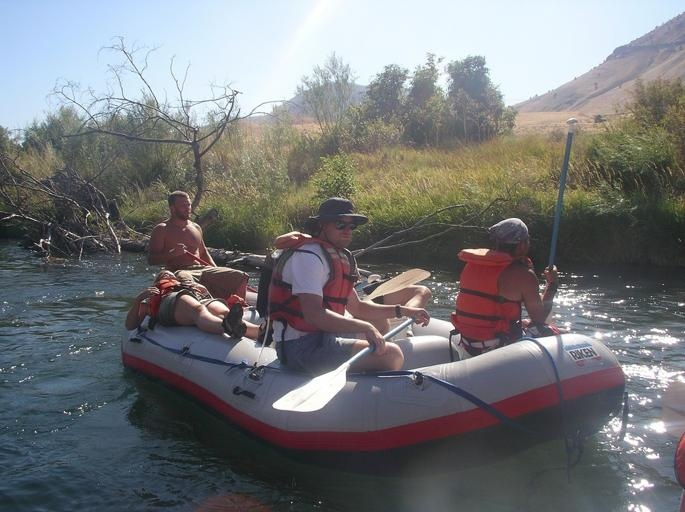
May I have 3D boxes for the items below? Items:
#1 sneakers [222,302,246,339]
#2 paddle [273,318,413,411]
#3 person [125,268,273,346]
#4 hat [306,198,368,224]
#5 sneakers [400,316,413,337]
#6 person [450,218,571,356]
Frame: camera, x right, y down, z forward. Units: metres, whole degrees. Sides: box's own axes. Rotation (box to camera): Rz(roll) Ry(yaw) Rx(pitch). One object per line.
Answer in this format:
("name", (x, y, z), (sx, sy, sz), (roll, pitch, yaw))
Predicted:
("sneakers", (-1.090, 0.631, 5.253), (0.154, 0.443, 0.293), (1, 1, -31))
("paddle", (0.036, 0.863, 4.373), (0.312, 0.085, 1.511), (26, 37, 34))
("person", (-1.668, 0.468, 6.036), (1.976, 0.805, 0.918), (-7, -5, 42))
("hat", (-0.028, -0.374, 4.643), (0.300, 0.116, 0.267), (-2, -1, 32))
("sneakers", (0.652, 0.736, 5.612), (0.071, 0.206, 0.198), (11, -10, -24))
("person", (1.997, 0.351, 6.189), (1.223, 2.046, 0.862), (-21, 29, -30))
